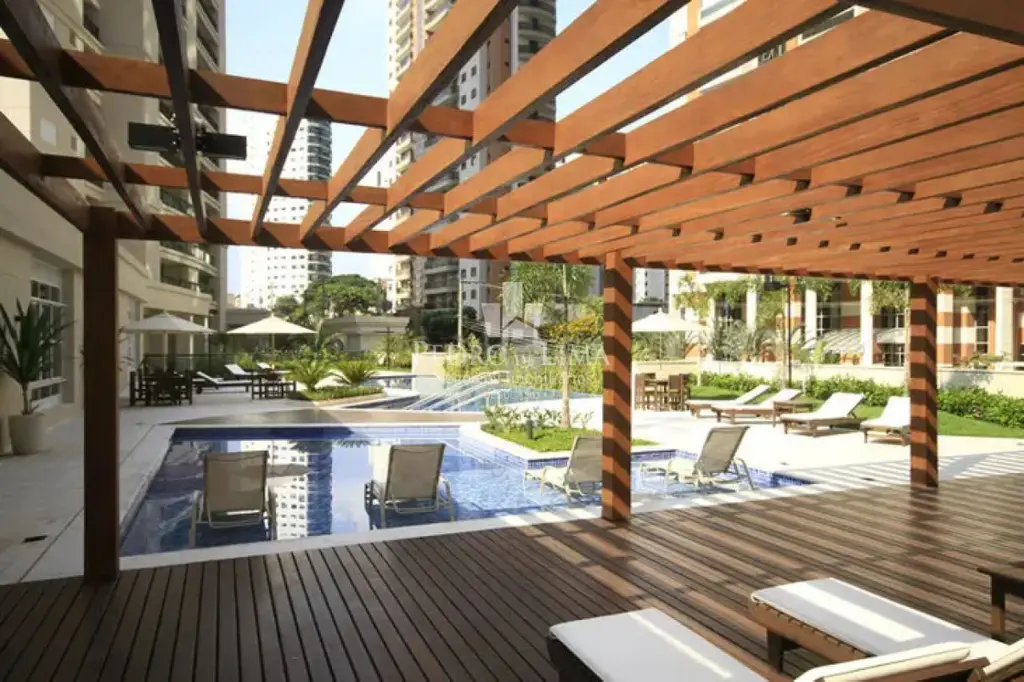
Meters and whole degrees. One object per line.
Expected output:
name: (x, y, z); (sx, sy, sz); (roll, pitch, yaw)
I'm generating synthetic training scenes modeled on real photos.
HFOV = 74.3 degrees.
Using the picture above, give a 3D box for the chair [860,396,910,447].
chair: (6.984, 1.415, 12.404); (1.239, 0.663, 0.667); (2, -4, -41)

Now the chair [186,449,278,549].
chair: (-3.115, 1.668, 7.564); (0.896, 0.976, 0.856); (-2, 6, -13)

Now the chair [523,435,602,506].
chair: (0.770, 1.602, 8.729); (0.740, 0.680, 1.199); (2, 0, -27)

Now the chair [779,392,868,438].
chair: (6.447, 1.483, 13.744); (1.743, 0.739, 0.888); (1, -5, -21)

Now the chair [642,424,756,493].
chair: (2.603, 1.614, 9.565); (0.902, 0.849, 1.821); (0, -1, -19)

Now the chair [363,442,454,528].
chair: (-1.247, 1.725, 8.149); (0.811, 0.812, 1.328); (1, -4, -17)

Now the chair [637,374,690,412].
chair: (4.052, 1.372, 17.839); (1.209, 0.674, 1.131); (0, -1, -10)

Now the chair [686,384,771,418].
chair: (5.198, 1.453, 16.175); (1.994, 0.710, 0.910); (1, -5, -5)

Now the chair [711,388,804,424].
chair: (5.619, 1.504, 15.299); (2.135, 0.743, 0.961); (0, -5, -4)

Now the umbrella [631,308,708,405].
umbrella: (5.013, 0.508, 21.254); (3.737, 2.897, 3.522); (-1, 1, 3)
